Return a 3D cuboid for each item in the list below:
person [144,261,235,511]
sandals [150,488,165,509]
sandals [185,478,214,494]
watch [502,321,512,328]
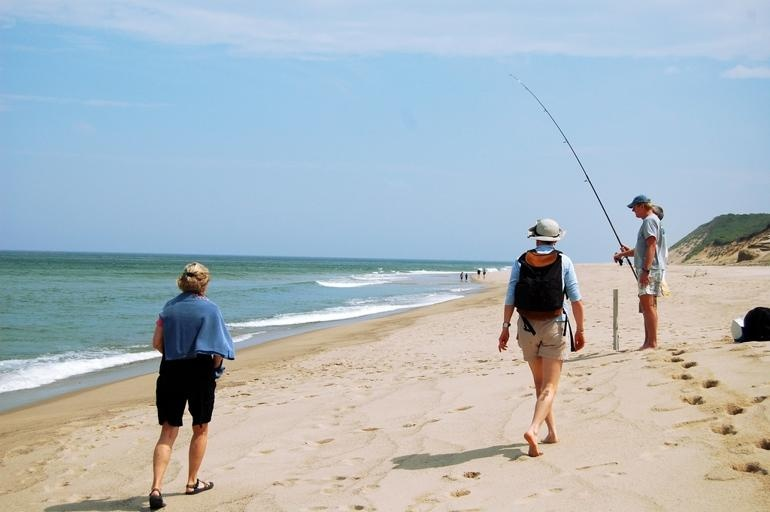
[{"bbox_3d":[-2.174,1.248,7.764,1.192,2.294,1.214,5,-5,-20],"label":"person"},{"bbox_3d":[-2.324,2.483,7.301,0.114,0.252,0.070,-2,38,-3],"label":"sandals"},{"bbox_3d":[-1.960,2.439,7.577,0.269,0.089,0.139,-1,1,-35],"label":"sandals"},{"bbox_3d":[1.310,0.751,7.792,0.085,0.043,0.097,-1,-12,7],"label":"watch"}]
